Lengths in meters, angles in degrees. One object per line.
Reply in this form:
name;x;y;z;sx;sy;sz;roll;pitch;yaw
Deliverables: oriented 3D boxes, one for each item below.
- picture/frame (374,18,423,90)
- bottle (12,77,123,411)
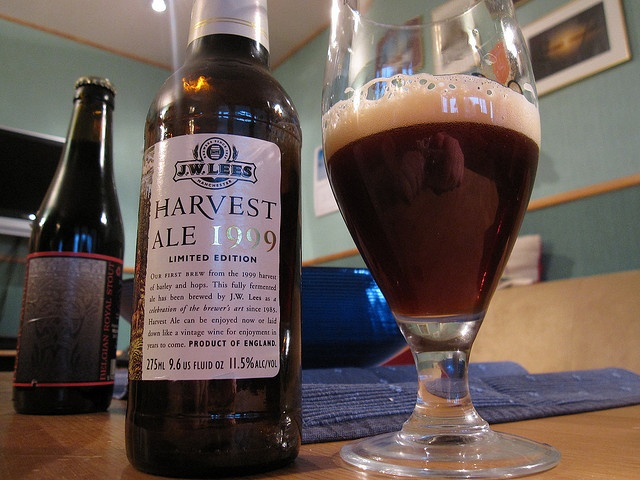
picture/frame;0.059;-0.141;0.425;0.051;0.068;0.007;-6;-22;26
bottle;-0.300;-0.011;0.675;0.114;0.420;0.105;-1;-6;0
